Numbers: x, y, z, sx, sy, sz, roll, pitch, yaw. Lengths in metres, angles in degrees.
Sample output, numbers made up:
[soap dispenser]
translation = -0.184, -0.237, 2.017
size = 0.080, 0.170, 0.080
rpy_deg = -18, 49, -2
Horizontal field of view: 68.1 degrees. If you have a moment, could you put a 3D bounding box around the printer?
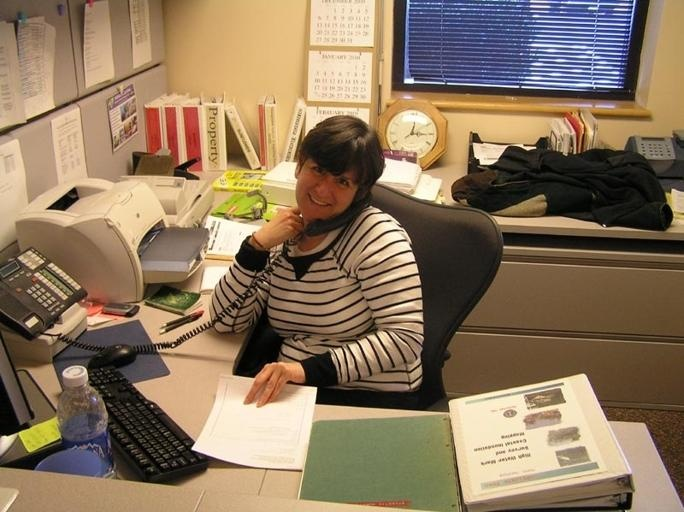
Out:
[printer]
translation = -0.754, -0.096, 1.714
size = 0.508, 0.281, 0.392
rpy_deg = 11, 34, -1

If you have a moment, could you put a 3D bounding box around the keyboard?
[keyboard]
translation = -0.472, 0.351, 1.179
size = 0.139, 0.067, 0.471
rpy_deg = -18, 37, -33

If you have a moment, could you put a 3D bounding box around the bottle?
[bottle]
translation = -0.572, 0.361, 1.111
size = 0.102, 0.246, 0.200
rpy_deg = -10, 26, -29

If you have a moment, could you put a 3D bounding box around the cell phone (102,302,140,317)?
[cell phone]
translation = -0.732, 0.173, 1.651
size = 0.070, 0.018, 0.055
rpy_deg = 4, 24, -1

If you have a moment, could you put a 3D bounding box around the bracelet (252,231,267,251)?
[bracelet]
translation = -0.266, -0.048, 1.605
size = 0.011, 0.047, 0.046
rpy_deg = -28, -26, 19

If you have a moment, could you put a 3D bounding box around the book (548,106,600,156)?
[book]
translation = 1.140, -0.639, 2.508
size = 0.203, 0.103, 0.277
rpy_deg = -3, 23, 0

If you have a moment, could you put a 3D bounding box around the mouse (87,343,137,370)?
[mouse]
translation = -0.647, 0.285, 1.425
size = 0.099, 0.037, 0.062
rpy_deg = -4, 24, -17
